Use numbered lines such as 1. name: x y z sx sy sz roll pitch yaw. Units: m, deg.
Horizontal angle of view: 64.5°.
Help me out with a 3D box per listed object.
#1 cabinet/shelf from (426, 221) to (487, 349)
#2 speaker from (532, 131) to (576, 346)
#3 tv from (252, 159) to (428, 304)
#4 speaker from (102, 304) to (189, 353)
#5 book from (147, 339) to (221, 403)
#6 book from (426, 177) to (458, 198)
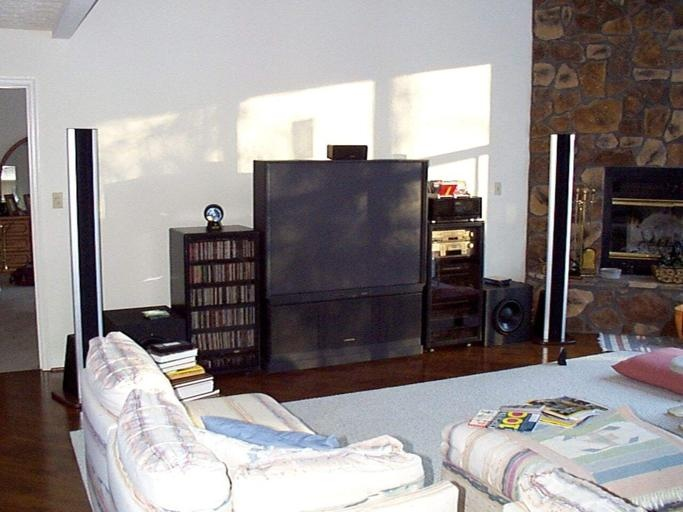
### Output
1. cabinet/shelf: 1.106 0.292 5.341 0.684 1.273 0.235 -5 15 -20
2. speaker: 2.173 -0.152 5.401 0.330 2.098 0.368 3 14 10
3. tv: -0.056 -0.241 4.808 1.685 0.977 0.504 -4 16 -15
4. speaker: -1.623 0.561 4.421 0.458 0.220 0.455 -2 7 -38
5. book: -0.937 0.674 3.215 0.396 0.074 0.374 1 14 -34
6. book: 1.007 -0.687 5.398 0.252 0.115 0.218 -2 11 -20
